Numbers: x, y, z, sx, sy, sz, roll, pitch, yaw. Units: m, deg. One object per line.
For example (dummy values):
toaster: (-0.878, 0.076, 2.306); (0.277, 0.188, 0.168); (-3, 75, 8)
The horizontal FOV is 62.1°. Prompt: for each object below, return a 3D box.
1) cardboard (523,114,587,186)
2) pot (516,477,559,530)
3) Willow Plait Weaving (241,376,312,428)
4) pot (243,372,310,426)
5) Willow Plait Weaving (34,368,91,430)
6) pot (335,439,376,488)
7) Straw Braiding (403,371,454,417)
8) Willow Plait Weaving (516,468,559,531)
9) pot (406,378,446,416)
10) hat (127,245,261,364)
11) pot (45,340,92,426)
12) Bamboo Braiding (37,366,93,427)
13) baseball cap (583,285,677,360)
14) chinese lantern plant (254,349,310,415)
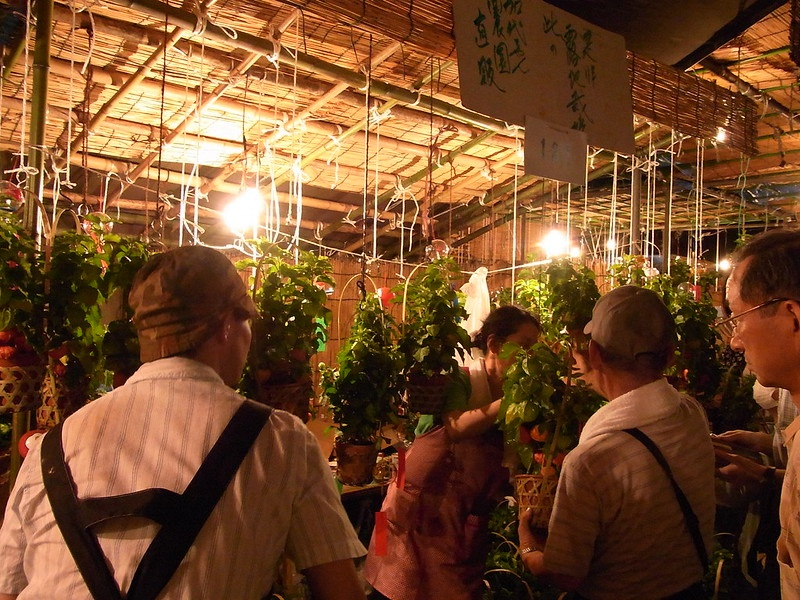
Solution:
cardboard: (0.559, -0.541, 2.412); (0.282, 0.210, 0.010); (6, -6, -26)
pot: (0.509, 0.748, 2.505); (0.174, 0.192, 0.183); (3, -5, 0)
Willow Plait Weaving: (-0.441, 0.382, 2.492); (0.167, 0.150, 0.202); (0, -8, -3)
pot: (-0.461, 0.379, 2.562); (0.269, 0.217, 0.245); (2, -11, 0)
Willow Plait Weaving: (-1.289, 0.341, 2.579); (0.157, 0.265, 0.155); (-1, -13, -7)
pot: (-0.170, 0.623, 2.554); (0.165, 0.139, 0.161); (3, -7, 0)
Straw Braiding: (0.113, 0.385, 2.695); (0.162, 0.133, 0.159); (1, -9, 4)
Willow Plait Weaving: (0.510, 0.742, 2.512); (0.182, 0.202, 0.193); (2, -6, 11)
pot: (0.102, 0.384, 2.677); (0.148, 0.122, 0.143); (1, -4, 0)
hat: (-0.611, 0.004, 1.984); (0.300, 0.315, 0.387); (-15, -8, 41)
pot: (-1.273, 0.325, 2.546); (0.087, 0.235, 0.089); (0, -6, 0)
Bamboo Braiding: (-1.286, 0.367, 2.579); (0.168, 0.284, 0.161); (4, -12, -13)
baseball cap: (0.787, 0.085, 2.268); (0.198, 0.159, 0.280); (3, 18, 4)
chinese lantern plant: (-0.430, 0.319, 2.474); (0.202, 0.179, 0.230); (2, -18, -7)
